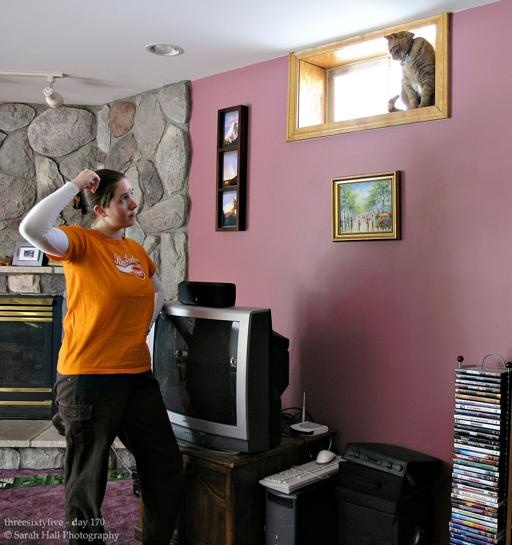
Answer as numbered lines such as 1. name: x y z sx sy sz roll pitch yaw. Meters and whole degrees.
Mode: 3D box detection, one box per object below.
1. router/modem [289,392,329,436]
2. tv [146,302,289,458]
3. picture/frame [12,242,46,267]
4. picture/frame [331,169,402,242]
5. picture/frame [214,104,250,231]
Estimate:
1. router/modem: 0.241 0.656 2.275 0.132 0.130 0.115 24 -40 -30
2. tv: -0.164 0.444 2.196 0.649 0.590 0.373 0 -2 42
3. picture/frame: -1.412 -0.100 3.117 0.160 0.155 0.012 -4 -31 6
4. picture/frame: 0.492 -0.290 2.186 0.318 0.317 0.032 0 1 40
5. picture/frame: -0.135 -0.557 2.719 0.198 0.667 0.069 2 3 40
